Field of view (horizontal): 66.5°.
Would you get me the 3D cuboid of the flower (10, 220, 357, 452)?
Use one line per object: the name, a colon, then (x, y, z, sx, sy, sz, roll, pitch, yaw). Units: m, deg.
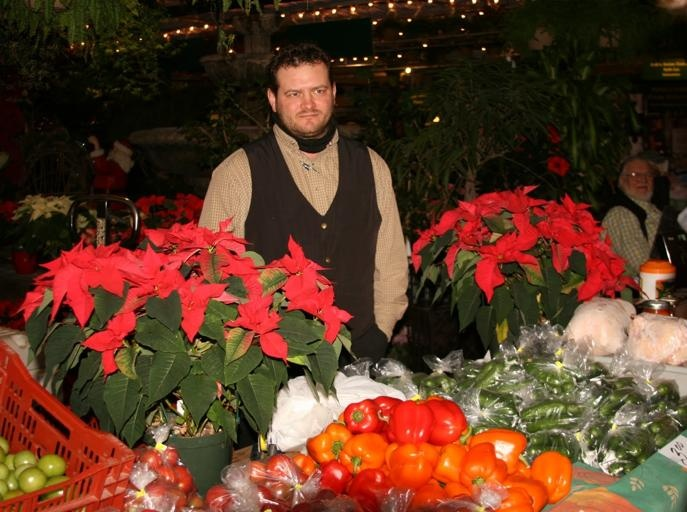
flower: (-0.423, 0.316, 1.513, 0.730, 0.471, 0.712, -1, 17, -41)

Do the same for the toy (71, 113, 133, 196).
toy: (-2.452, -1.027, 5.510, 0.203, 0.776, 0.524, 2, 20, 18)

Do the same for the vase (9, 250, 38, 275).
vase: (-2.680, 0.046, 4.380, 0.185, 0.167, 0.207, 0, 5, -21)
